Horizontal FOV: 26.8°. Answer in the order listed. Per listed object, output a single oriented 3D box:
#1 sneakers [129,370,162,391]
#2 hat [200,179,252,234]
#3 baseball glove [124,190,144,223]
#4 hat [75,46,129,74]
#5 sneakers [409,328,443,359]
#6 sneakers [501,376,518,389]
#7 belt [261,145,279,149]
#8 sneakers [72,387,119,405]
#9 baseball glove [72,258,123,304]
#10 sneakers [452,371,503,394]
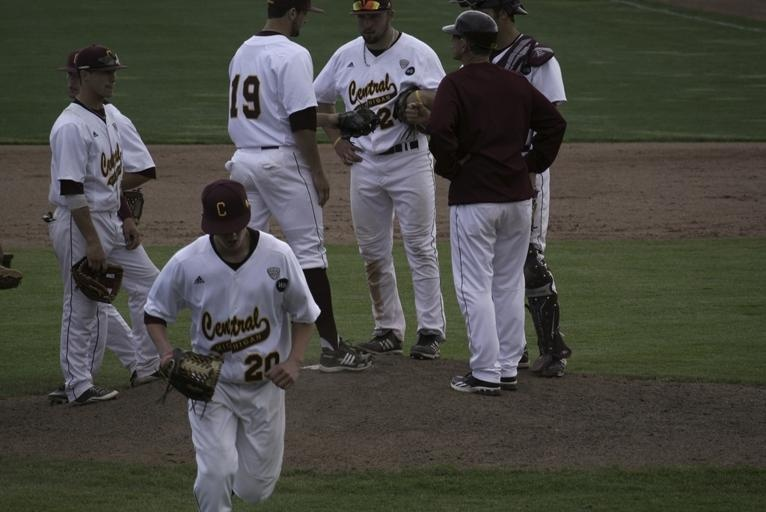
[{"bbox_3d":[-3.051,1.583,20.619,0.469,0.178,0.165,-5,9,-4],"label":"sneakers"},{"bbox_3d":[-1.878,-0.624,18.986,0.662,0.424,0.760,-7,40,1],"label":"hat"},{"bbox_3d":[-3.250,-0.664,20.970,0.337,0.357,0.171,2,17,21],"label":"baseball glove"},{"bbox_3d":[-3.593,-2.489,20.321,0.508,0.180,0.331,-1,18,-1],"label":"hat"},{"bbox_3d":[0.590,1.179,21.005,0.250,0.260,0.565,2,-3,20],"label":"sneakers"},{"bbox_3d":[1.584,1.611,20.318,0.227,0.129,0.134,3,2,5],"label":"sneakers"},{"bbox_3d":[-1.437,-1.383,20.391,0.211,0.060,0.017,1,9,2],"label":"belt"},{"bbox_3d":[-3.607,1.742,20.453,0.652,0.217,0.213,-6,9,-8],"label":"sneakers"},{"bbox_3d":[-3.582,0.329,20.294,0.645,0.515,0.253,20,-20,-17],"label":"baseball glove"},{"bbox_3d":[1.146,1.627,20.386,0.678,0.252,0.249,7,12,15],"label":"sneakers"}]
